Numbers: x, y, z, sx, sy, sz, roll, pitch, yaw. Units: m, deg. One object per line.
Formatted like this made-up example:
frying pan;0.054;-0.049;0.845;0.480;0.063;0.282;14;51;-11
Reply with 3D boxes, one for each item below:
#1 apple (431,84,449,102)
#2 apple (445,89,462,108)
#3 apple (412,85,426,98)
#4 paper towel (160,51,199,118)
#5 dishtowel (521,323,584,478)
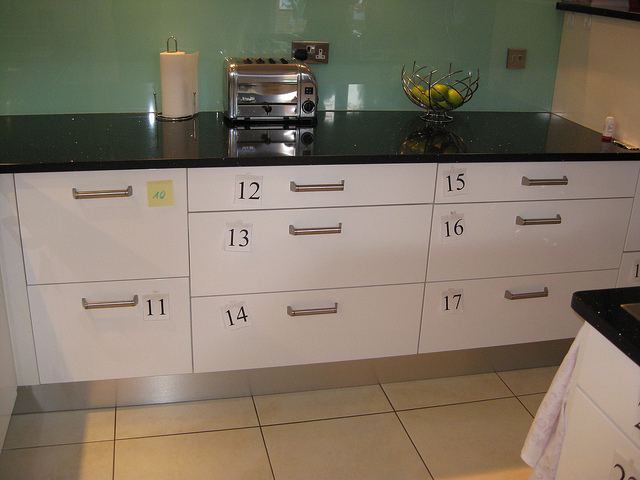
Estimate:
apple;0.595;-0.732;2.534;0.085;0.081;0.032;-5;17;-17
apple;0.667;-0.716;2.588;0.064;0.071;0.071;29;33;-22
apple;0.491;-0.758;2.600;0.055;0.056;0.065;-19;66;-47
paper towel;-0.672;-0.750;2.421;0.161;0.336;0.232;5;18;9
dishtowel;0.658;0.495;1.473;0.102;0.457;0.069;10;18;30
